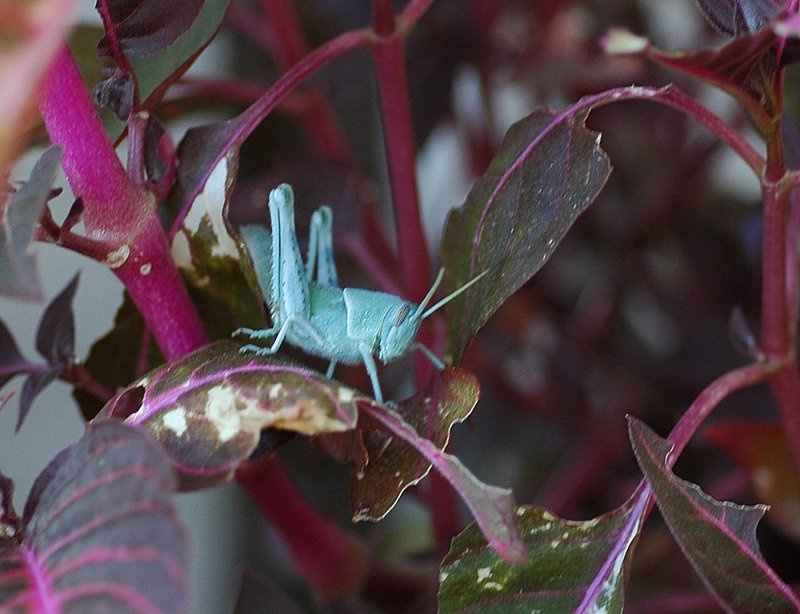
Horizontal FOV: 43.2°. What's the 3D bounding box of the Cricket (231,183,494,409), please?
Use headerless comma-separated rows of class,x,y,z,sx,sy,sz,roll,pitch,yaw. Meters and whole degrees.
Cricket,-0.049,-0.010,0.790,0.186,0.139,0.114,13,7,18
